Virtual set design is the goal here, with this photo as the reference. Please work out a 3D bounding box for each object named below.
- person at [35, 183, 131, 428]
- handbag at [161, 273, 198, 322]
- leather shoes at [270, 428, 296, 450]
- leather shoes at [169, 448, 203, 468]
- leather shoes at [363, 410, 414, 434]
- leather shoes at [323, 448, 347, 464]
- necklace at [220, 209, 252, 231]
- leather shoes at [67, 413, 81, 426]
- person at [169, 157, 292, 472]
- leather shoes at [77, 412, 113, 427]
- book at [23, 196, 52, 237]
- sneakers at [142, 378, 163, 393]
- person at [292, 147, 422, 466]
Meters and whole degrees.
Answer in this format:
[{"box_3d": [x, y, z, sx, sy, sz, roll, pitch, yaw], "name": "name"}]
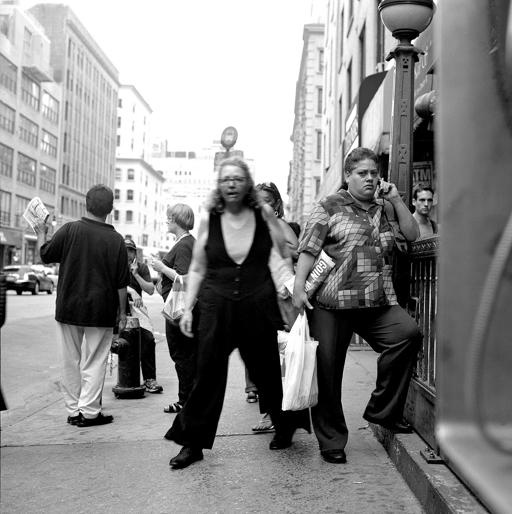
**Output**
[{"box_3d": [-1.433, 0.377, 5.048, 0.731, 2.057, 0.453, -3, -3, -25], "name": "person"}, {"box_3d": [-0.607, 0.322, 4.783, 0.218, 0.540, 0.155, 26, -22, -29], "name": "handbag"}, {"box_3d": [0.176, 1.239, 4.034, 0.078, 0.114, 0.251, -1, -8, 15], "name": "leather shoes"}, {"box_3d": [-0.430, 1.245, 3.728, 0.080, 0.122, 0.251, -2, -7, 32], "name": "leather shoes"}, {"box_3d": [0.908, 1.068, 3.843, 0.427, 0.100, 0.220, -4, -4, -43], "name": "leather shoes"}, {"box_3d": [0.486, 1.247, 3.726, 0.066, 0.052, 0.130, 2, -10, -15], "name": "leather shoes"}, {"box_3d": [-0.123, -0.233, 3.893, 0.108, 0.069, 0.160, -3, -8, -19], "name": "necklace"}, {"box_3d": [-1.483, 1.331, 4.855, 0.054, 0.141, 0.162, 5, -5, -38], "name": "leather shoes"}, {"box_3d": [-0.157, 0.375, 3.849, 0.805, 2.054, 0.644, -2, 22, -7], "name": "person"}, {"box_3d": [-1.305, 1.346, 4.848, 0.283, 0.149, 0.104, 2, 2, -42], "name": "leather shoes"}, {"box_3d": [-1.984, -0.410, 5.380, 0.219, 0.350, 0.033, -32, -33, 13], "name": "book"}, {"box_3d": [-1.090, 1.399, 6.377, 0.091, 0.121, 0.220, 1, -7, -37], "name": "sneakers"}, {"box_3d": [0.651, 0.275, 3.899, 0.814, 1.611, 0.488, -5, -3, 16], "name": "person"}]
